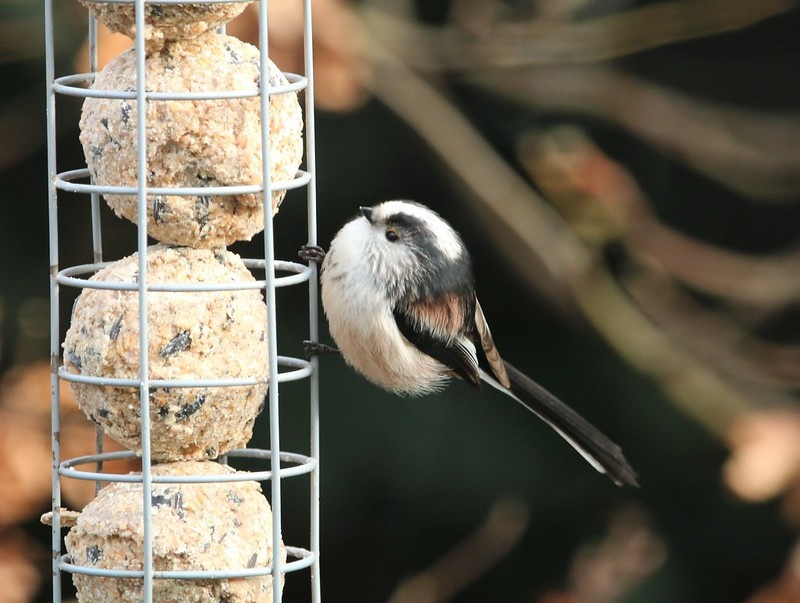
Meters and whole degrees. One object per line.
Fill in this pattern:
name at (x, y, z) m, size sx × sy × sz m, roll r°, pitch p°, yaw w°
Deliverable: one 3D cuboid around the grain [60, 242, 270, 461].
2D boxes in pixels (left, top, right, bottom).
grain at (-0.286, 0.063, 2.200) m, size 0.254 × 0.263 × 0.323 m, roll 3°, pitch -63°, yaw 16°
